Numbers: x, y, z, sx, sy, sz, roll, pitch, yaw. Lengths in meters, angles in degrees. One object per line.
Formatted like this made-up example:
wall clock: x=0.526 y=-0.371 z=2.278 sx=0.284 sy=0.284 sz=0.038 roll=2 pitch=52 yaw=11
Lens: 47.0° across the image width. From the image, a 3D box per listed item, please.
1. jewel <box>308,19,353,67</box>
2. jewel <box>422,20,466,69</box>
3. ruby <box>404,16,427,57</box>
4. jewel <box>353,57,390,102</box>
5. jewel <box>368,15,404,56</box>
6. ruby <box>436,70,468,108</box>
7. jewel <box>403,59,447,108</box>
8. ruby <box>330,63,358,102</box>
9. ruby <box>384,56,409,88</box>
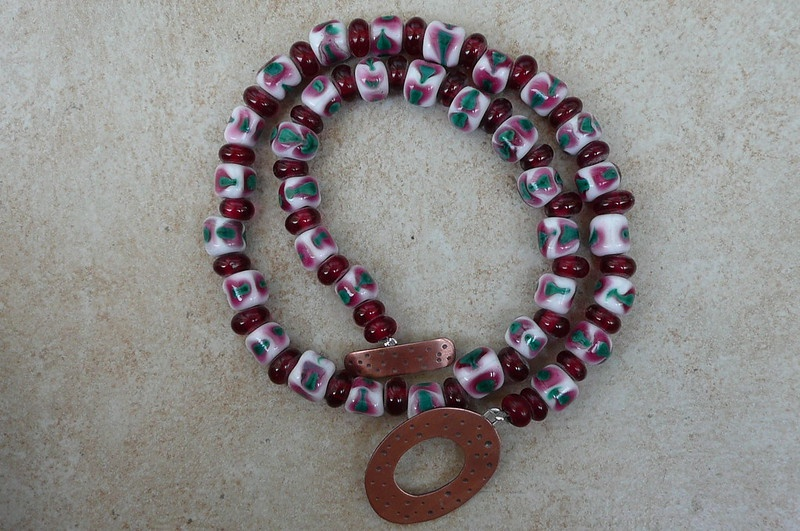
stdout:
jewel: x=-0.164 y=-0.539 z=2.211 sx=0.091 sy=0.094 sz=0.109 roll=-9 pitch=46 yaw=14
jewel: x=0.108 y=-0.521 z=2.171 sx=0.098 sy=0.095 sz=0.089 roll=12 pitch=31 yaw=25
ruby: x=0.034 y=-0.542 z=2.197 sx=0.072 sy=0.072 sz=0.084 roll=-9 pitch=100 yaw=-34
jewel: x=-0.064 y=-0.425 z=2.196 sx=0.074 sy=0.073 sz=0.078 roll=-5 pitch=59 yaw=3
jewel: x=-0.033 y=-0.539 z=2.167 sx=0.075 sy=0.075 sz=0.079 roll=-4 pitch=55 yaw=-3
ruby: x=0.120 y=-0.418 z=2.227 sx=0.069 sy=0.072 sz=0.077 roll=31 pitch=98 yaw=-1
jewel: x=0.048 y=-0.438 z=2.196 sx=0.089 sy=0.078 sz=0.101 roll=22 pitch=68 yaw=0
ruby: x=-0.146 y=-0.440 z=2.200 sx=0.039 sy=0.077 sz=0.039 roll=-10 pitch=58 yaw=-5
ruby: x=-0.009 y=-0.449 z=2.201 sx=0.049 sy=0.060 sz=0.094 roll=3 pitch=75 yaw=14
